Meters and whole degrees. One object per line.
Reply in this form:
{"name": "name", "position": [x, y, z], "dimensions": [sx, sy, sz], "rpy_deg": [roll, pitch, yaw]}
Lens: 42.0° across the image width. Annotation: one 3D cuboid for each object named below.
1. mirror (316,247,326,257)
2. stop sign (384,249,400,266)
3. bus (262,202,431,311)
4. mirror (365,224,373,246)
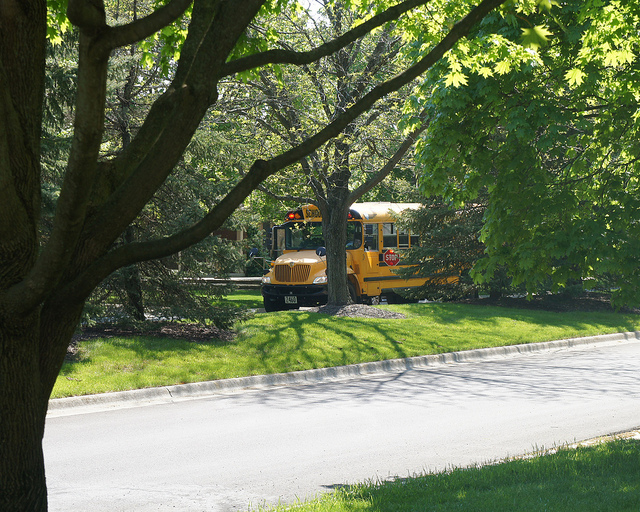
{"name": "mirror", "position": [0.026, -0.124, 23.920], "dimensions": [0.253, 0.227, 0.557], "rpy_deg": [0, 2, -2]}
{"name": "stop sign", "position": [2.317, 0.064, 27.218], "dimensions": [0.159, 0.546, 0.904], "rpy_deg": [2, 3, 29]}
{"name": "bus", "position": [1.009, 0.086, 28.098], "dimensions": [3.204, 3.692, 7.201], "rpy_deg": [1, 0, 32]}
{"name": "mirror", "position": [1.509, -0.654, 26.106], "dimensions": [0.127, 0.675, 0.543], "rpy_deg": [2, 3, 27]}
